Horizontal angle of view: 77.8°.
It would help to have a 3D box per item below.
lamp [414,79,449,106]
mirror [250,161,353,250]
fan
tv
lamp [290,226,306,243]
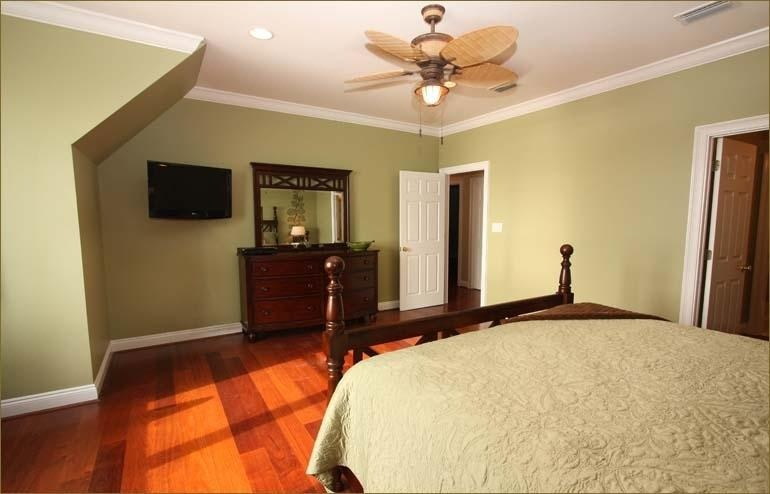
[{"bbox_3d":[0.444,-1.514,4.555,0.298,0.191,0.287,1,-13,-1],"label":"lamp"},{"bbox_3d":[-1.159,-0.558,6.307,1.279,1.069,0.162,-3,12,-25],"label":"mirror"},{"bbox_3d":[0.468,-1.835,4.555,1.545,0.694,1.463,-2,5,15],"label":"fan"},{"bbox_3d":[-2.303,-0.659,5.506,0.759,0.498,0.074,-2,6,-34],"label":"tv"},{"bbox_3d":[-1.149,-0.183,6.326,0.203,0.228,0.215,0,-2,30],"label":"lamp"}]
